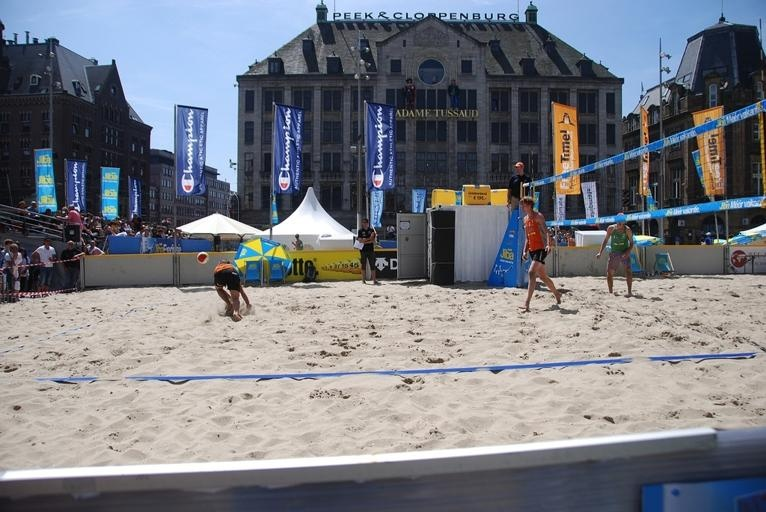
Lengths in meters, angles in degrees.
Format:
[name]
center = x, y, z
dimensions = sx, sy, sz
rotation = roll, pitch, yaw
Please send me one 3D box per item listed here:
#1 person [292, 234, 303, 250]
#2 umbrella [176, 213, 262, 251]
[person]
center = -4.045, -0.654, 42.289
dimensions = 0.536, 0.713, 1.356
rotation = 0, 1, -7
[umbrella]
center = -8.458, -1.201, 46.748
dimensions = 3.045, 1.414, 3.087
rotation = -1, -4, 7
